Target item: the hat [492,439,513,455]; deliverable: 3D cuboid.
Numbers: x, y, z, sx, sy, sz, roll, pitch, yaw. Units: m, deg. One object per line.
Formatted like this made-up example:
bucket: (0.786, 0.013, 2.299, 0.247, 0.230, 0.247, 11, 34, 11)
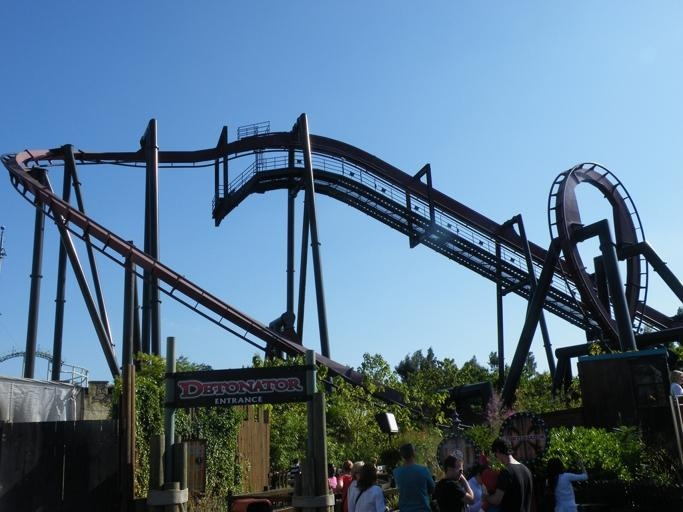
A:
hat: (1.932, 2.276, 7.937, 0.152, 0.214, 0.205, -2, -4, 19)
